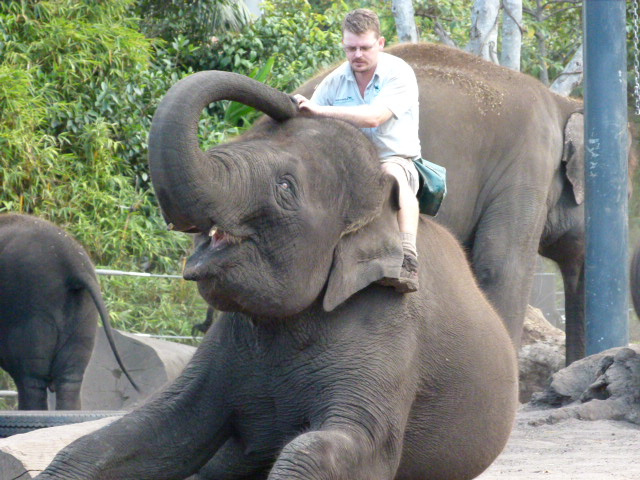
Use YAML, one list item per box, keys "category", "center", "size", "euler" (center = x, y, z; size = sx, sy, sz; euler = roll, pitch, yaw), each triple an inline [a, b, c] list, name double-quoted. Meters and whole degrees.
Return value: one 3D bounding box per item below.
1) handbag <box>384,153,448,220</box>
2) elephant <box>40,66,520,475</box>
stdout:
- category: "handbag"
  center: [0.514, -0.340, 7.081]
  size: [0.400, 0.380, 0.276]
  euler: [7, 7, -7]
- category: "elephant"
  center: [0.091, 0.612, 7.211]
  size: [1.476, 1.918, 3.030]
  euler: [-4, -27, 37]
